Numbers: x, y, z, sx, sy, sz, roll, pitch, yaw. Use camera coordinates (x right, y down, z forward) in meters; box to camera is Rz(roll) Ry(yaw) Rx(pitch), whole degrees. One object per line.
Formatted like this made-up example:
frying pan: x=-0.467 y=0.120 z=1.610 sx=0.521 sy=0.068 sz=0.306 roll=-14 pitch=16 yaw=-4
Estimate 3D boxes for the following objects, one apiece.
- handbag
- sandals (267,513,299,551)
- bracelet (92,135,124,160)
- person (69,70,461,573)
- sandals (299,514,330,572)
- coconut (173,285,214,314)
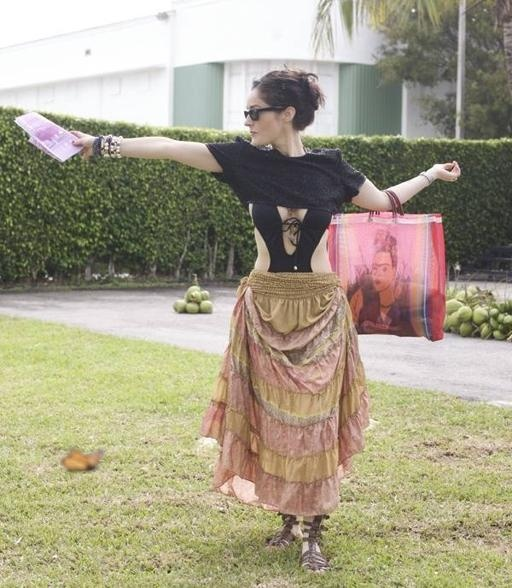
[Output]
handbag: x=0.808 y=-0.130 z=5.556 sx=0.659 sy=0.874 sz=0.310 roll=0 pitch=14 yaw=0
sandals: x=0.144 y=1.207 z=4.520 sx=0.079 sy=0.183 sz=0.238 roll=-5 pitch=-17 yaw=24
bracelet: x=-0.748 y=-0.719 z=4.428 sx=0.103 sy=0.071 sz=0.136 roll=-2 pitch=6 yaw=-19
person: x=0.099 y=0.069 z=4.446 sx=1.206 sy=2.299 sz=0.838 roll=3 pitch=12 yaw=10
sandals: x=0.276 y=1.206 z=4.318 sx=0.103 sy=0.176 sz=0.391 roll=-2 pitch=3 yaw=3
coconut: x=-0.787 y=0.098 z=11.658 sx=0.337 sy=0.308 sz=0.406 roll=6 pitch=7 yaw=25
